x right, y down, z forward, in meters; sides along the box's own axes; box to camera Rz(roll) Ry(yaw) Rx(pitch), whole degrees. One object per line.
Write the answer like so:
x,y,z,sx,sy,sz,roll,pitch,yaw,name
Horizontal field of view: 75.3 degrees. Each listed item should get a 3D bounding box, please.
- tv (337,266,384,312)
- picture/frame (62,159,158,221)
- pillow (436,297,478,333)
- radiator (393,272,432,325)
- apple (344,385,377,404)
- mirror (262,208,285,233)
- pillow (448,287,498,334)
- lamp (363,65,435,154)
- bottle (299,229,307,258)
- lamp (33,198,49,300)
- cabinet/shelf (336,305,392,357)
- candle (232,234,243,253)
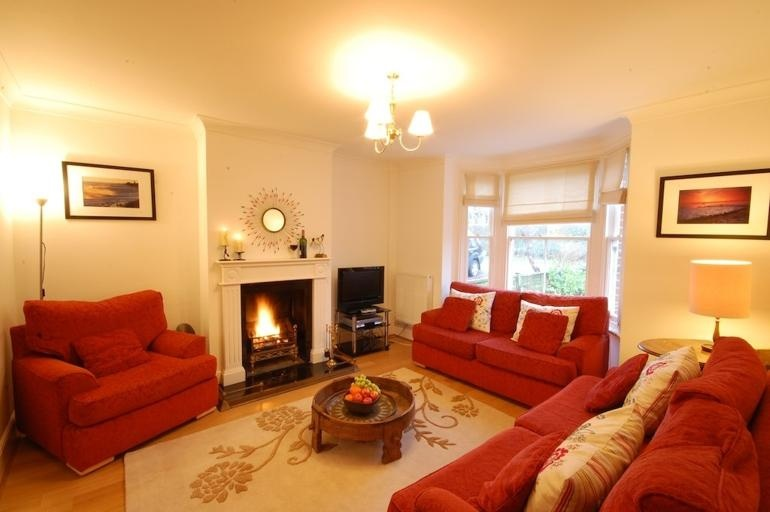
-0.369,0.474,7.073,0.632,0.460,0.100,-1,6,-35,tv
-3.129,-0.727,5.572,0.759,0.554,0.049,-1,6,-35,picture/frame
0.899,0.730,6.221,0.442,0.400,0.124,10,-14,45,pillow
0.427,0.613,7.209,0.110,0.829,0.715,-3,6,-38,radiator
-0.228,1.331,4.795,0.189,0.082,0.198,4,-5,-36,apple
-1.356,-0.426,6.074,0.289,0.284,0.066,4,1,-45,mirror
1.118,0.710,6.237,0.480,0.427,0.182,7,-14,40,pillow
0.073,-1.397,4.681,0.630,0.718,0.552,0,-5,14,lamp
-1.031,-0.149,6.331,0.116,0.360,0.102,-2,5,-26,bottle
-3.576,-0.069,5.192,0.121,1.062,0.319,-3,5,-34,lamp
-0.264,1.052,7.146,0.810,0.733,0.621,-4,10,-36,cabinet/shelf
-1.707,-0.146,5.850,0.130,0.228,0.079,-3,5,-38,candle
